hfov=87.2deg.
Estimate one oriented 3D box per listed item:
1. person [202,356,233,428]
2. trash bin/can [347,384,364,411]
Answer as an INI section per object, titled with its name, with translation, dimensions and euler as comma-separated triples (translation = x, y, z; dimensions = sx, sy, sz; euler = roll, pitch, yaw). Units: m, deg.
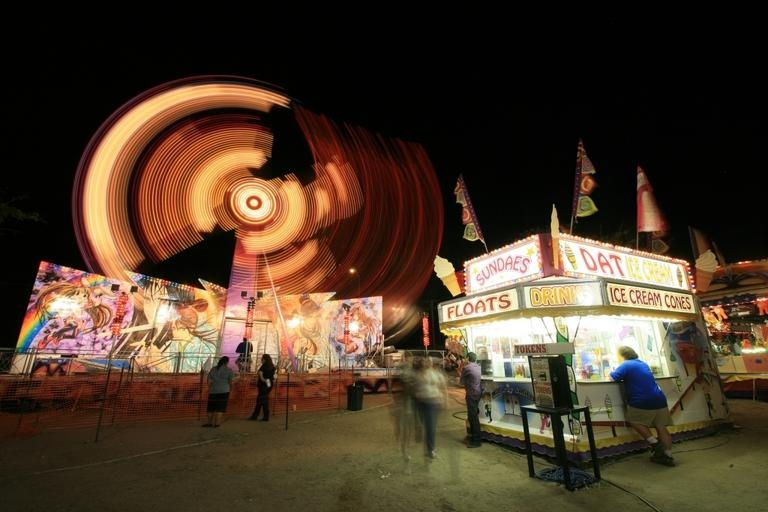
[person]
translation = -5.544, 4.526, 13.599
dimensions = 0.844, 2.403, 1.390
euler = 2, -3, -22
[trash bin/can]
translation = -1.192, 5.955, 16.890
dimensions = 0.602, 1.061, 0.593
euler = 1, -3, -13
